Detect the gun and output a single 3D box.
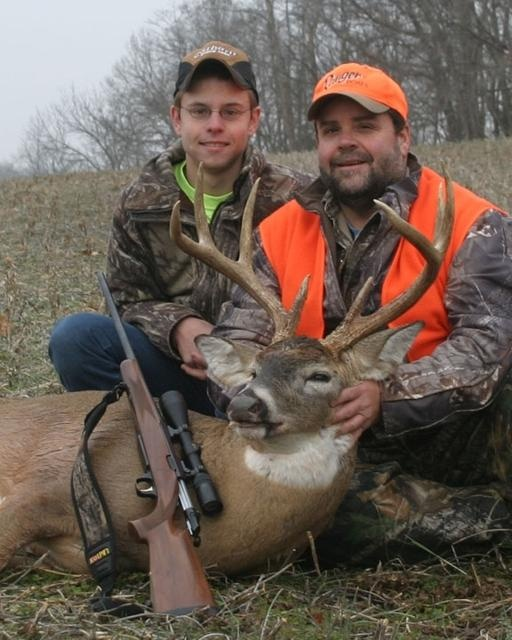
[{"bbox_3d":[-0.533,0.470,3.244,0.417,0.199,1.799,-16,46,-8],"label":"gun"}]
